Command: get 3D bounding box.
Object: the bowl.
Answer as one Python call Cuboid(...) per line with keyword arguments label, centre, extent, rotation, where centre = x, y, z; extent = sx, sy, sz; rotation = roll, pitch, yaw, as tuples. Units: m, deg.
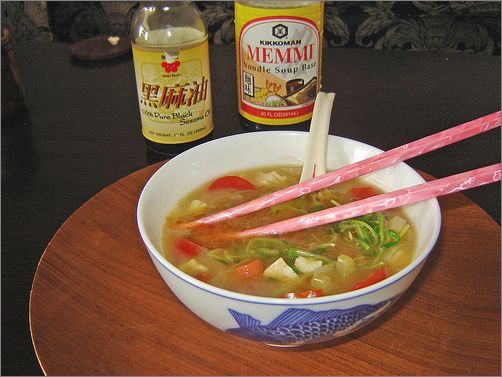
Cuboid(label="bowl", centre=(0.067, 0.108, 1.120), extent=(0.694, 0.296, 0.697), rotation=(0, 34, 0))
